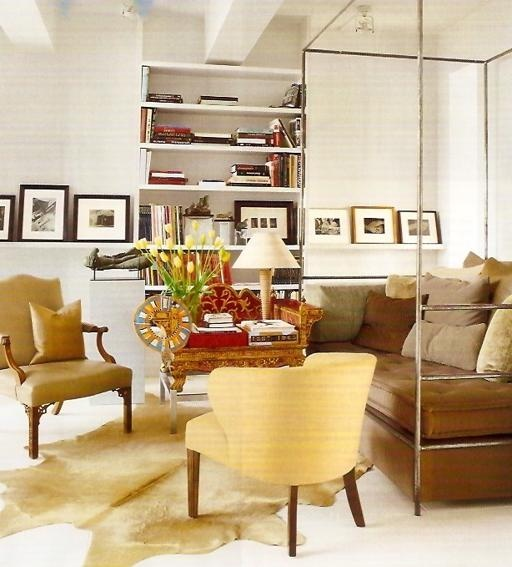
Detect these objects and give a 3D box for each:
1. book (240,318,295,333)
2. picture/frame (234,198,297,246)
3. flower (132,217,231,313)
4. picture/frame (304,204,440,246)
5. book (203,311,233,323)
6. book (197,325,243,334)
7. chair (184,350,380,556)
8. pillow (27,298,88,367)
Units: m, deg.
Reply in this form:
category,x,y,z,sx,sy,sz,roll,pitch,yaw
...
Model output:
category,x,y,z,sx,sy,sz,roll,pitch,yaw
book,0.058,0.236,3.134,0.289,0.044,0.338,1,4,-6
picture/frame,0.066,-0.494,4.517,0.570,0.370,0.041,0,-6,-8
flower,-0.362,-0.092,3.520,0.716,0.680,0.592,2,-1,-18
picture/frame,0.871,-0.478,4.577,0.941,0.330,0.174,0,4,-7
book,-0.213,0.184,3.051,0.136,0.044,0.191,0,4,-15
book,-0.194,0.241,2.971,0.261,0.051,0.133,0,4,-7
chair,0.112,0.574,2.244,0.748,0.762,0.670,2,-1,41
pillow,-1.169,0.294,3.261,0.380,0.370,0.147,-5,-9,-33
